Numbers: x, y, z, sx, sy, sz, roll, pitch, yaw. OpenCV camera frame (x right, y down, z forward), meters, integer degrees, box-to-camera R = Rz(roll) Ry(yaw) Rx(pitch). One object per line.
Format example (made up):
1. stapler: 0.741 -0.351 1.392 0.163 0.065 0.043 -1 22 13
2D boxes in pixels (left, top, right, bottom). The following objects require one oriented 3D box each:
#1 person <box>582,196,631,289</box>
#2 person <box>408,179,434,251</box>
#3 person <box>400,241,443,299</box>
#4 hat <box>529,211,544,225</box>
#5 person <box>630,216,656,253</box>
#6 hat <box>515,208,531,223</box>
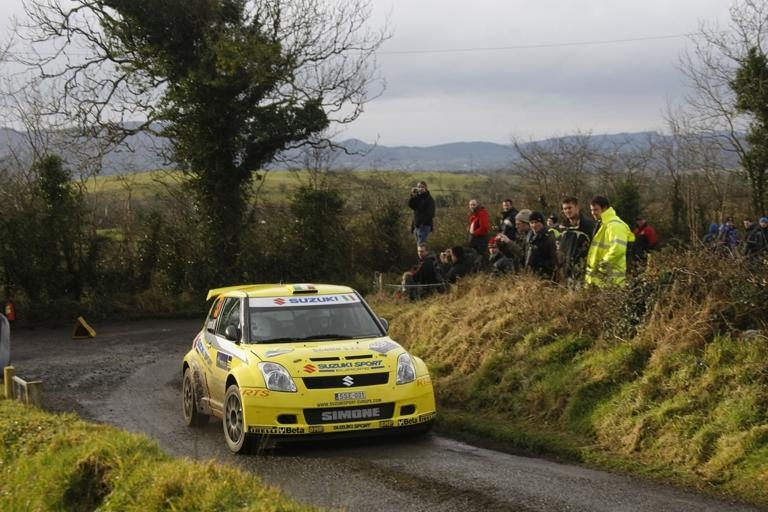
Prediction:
1. person: 4.984 -0.334 18.259 0.959 1.921 1.388 2 8 18
2. person: 1.241 -1.416 26.873 0.823 2.072 1.272 0 7 3
3. person: 1.053 0.454 23.579 1.046 1.848 0.780 4 23 3
4. hat: 3.757 -0.984 20.140 0.239 0.392 0.295 2 -11 20
5. person: 8.238 -0.534 26.064 0.499 1.054 0.942 -1 9 -41
6. hat: 3.658 -0.998 21.567 0.426 0.403 0.299 -23 23 -34
